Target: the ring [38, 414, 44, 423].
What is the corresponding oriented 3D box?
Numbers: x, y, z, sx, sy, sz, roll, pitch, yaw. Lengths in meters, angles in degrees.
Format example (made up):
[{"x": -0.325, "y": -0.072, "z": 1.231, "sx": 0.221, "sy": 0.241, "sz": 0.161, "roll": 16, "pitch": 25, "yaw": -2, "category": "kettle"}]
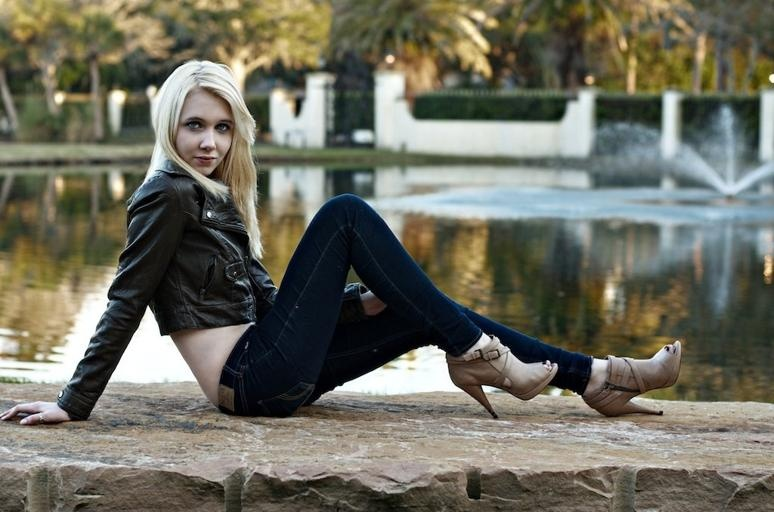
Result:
[{"x": -2.395, "y": 1.135, "z": 8.614, "sx": 0.037, "sy": 0.055, "sz": 0.013, "roll": 0, "pitch": 5, "yaw": -10, "category": "ring"}]
